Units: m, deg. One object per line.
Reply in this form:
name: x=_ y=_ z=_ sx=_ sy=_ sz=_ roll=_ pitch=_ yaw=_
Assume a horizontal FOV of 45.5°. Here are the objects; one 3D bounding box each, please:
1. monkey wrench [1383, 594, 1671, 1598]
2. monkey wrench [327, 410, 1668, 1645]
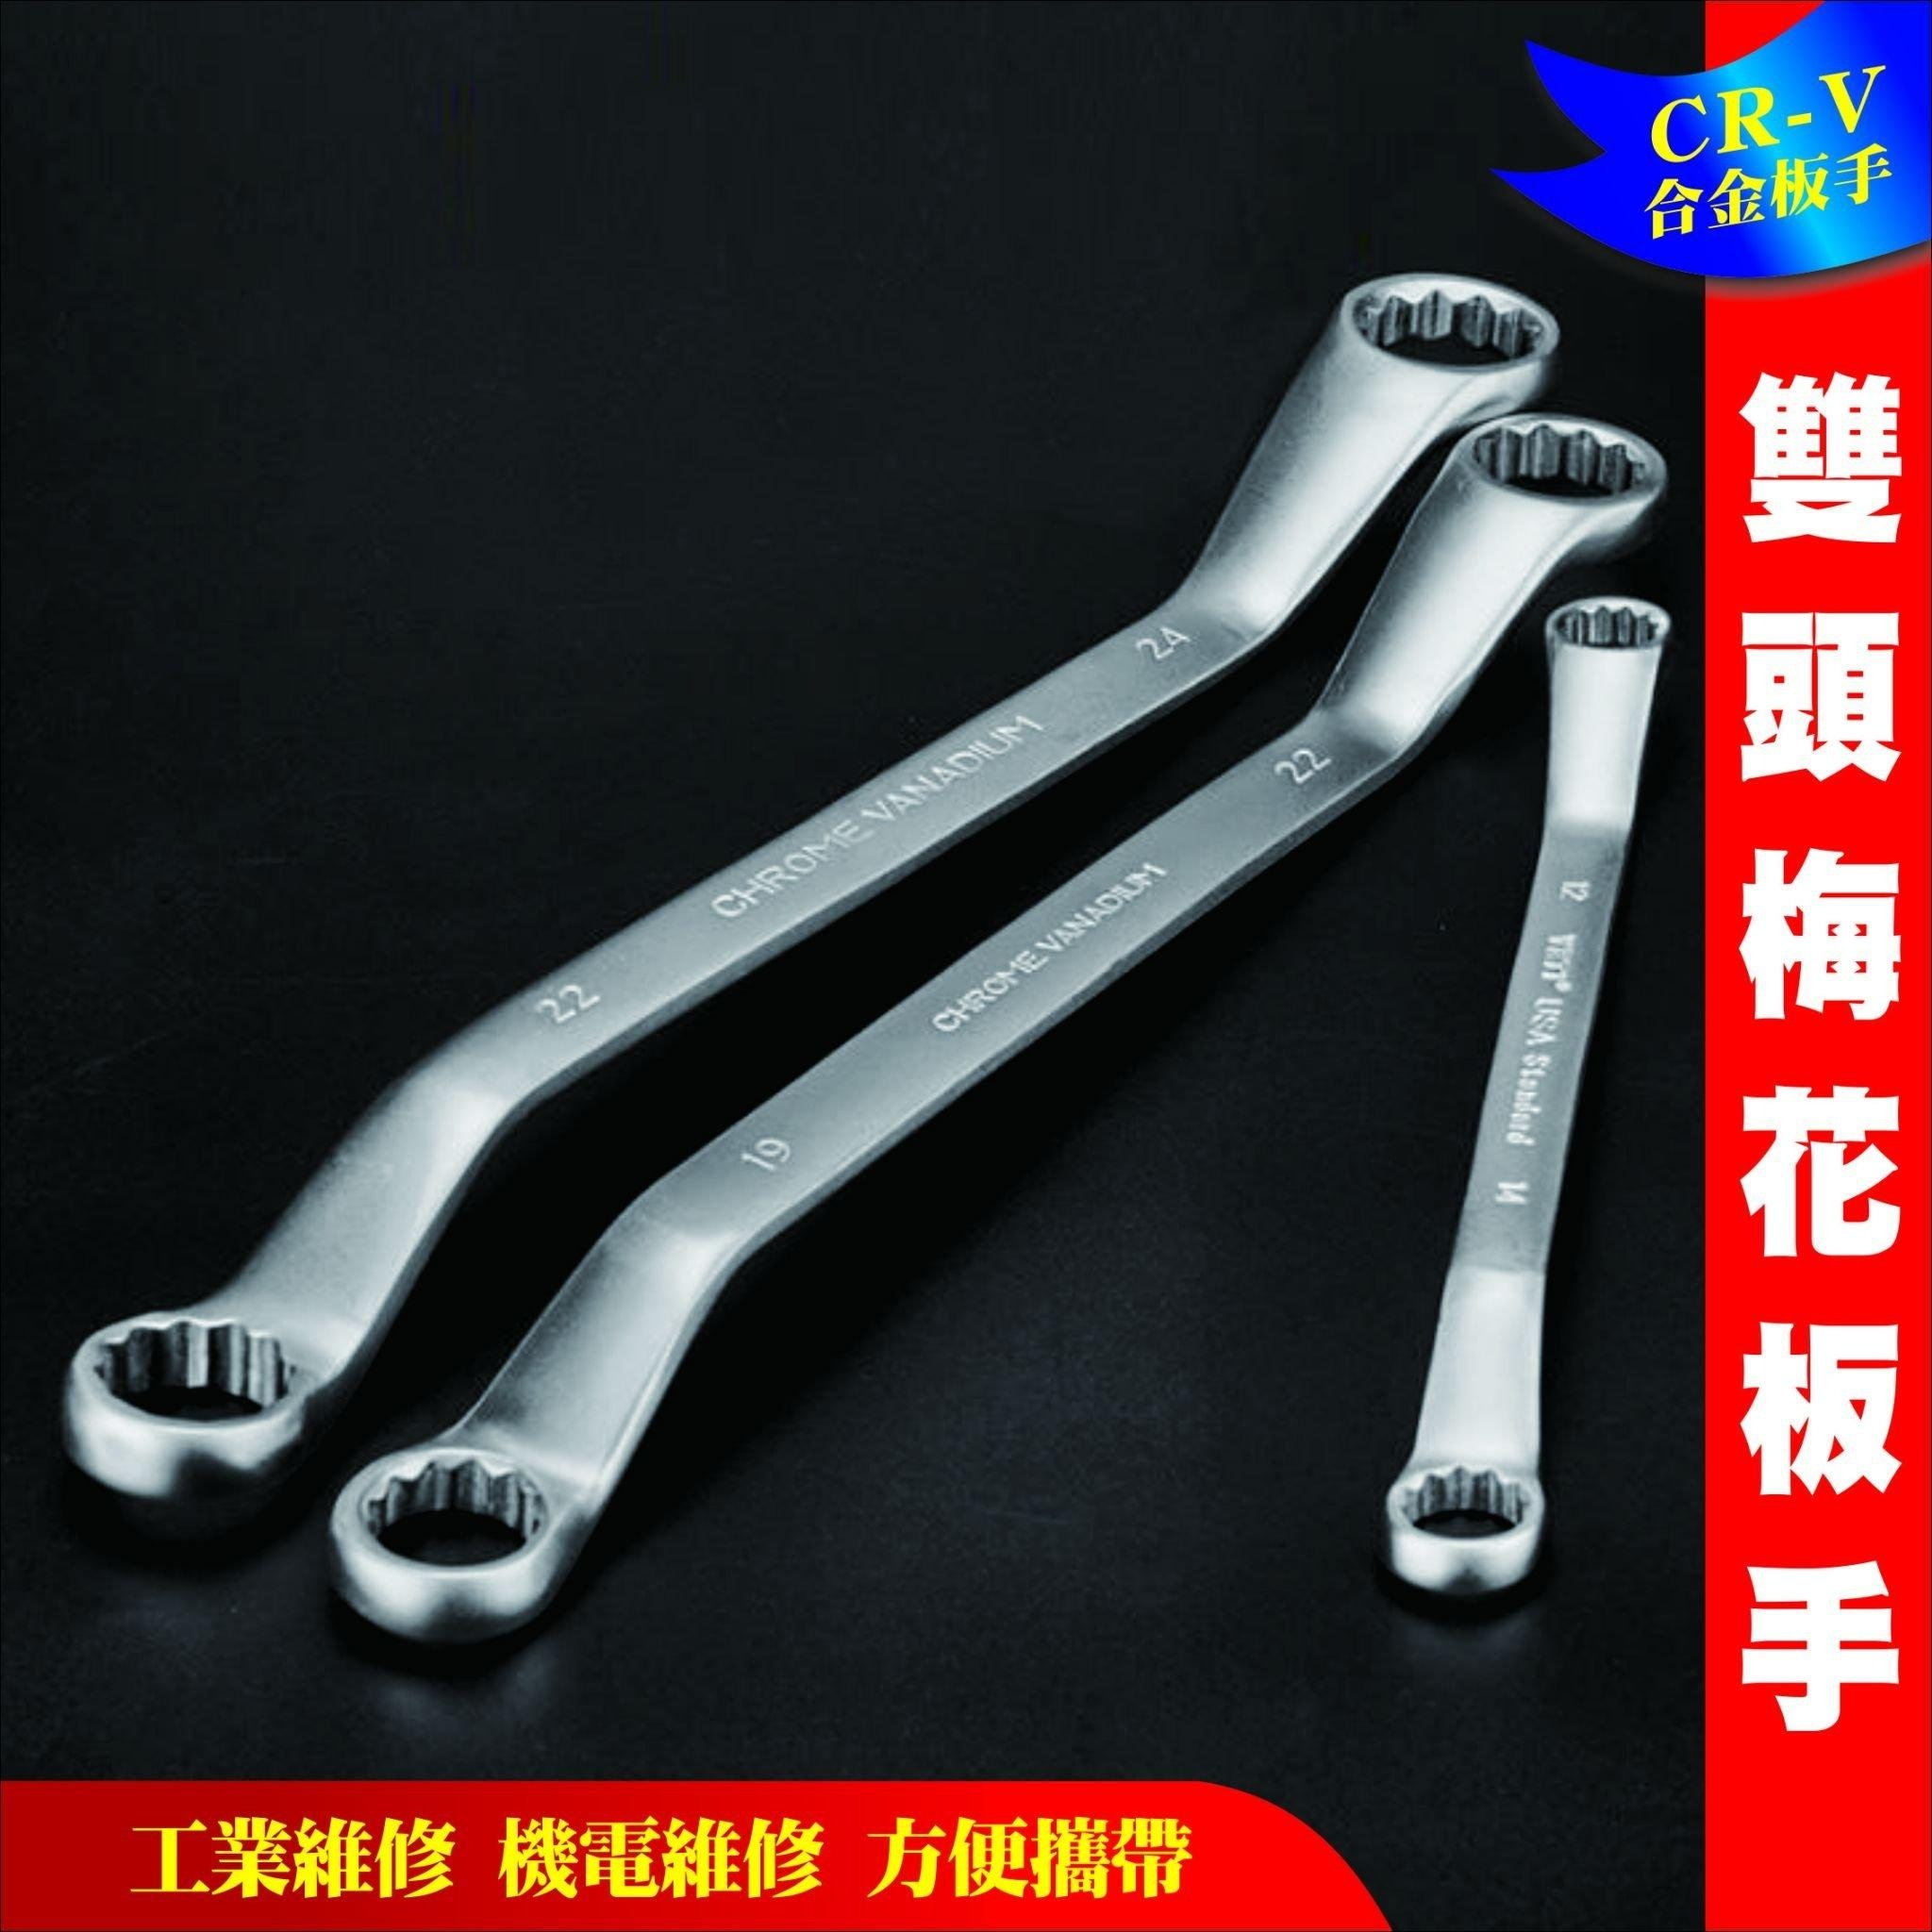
monkey wrench: x=0.394 y=-0.007 z=1.362 sx=0.131 sy=0.120 sz=0.873 roll=1 pitch=38 yaw=23
monkey wrench: x=0.027 y=0.043 z=1.335 sx=1.193 sy=0.158 sz=0.168 roll=-34 pitch=41 yaw=-31
